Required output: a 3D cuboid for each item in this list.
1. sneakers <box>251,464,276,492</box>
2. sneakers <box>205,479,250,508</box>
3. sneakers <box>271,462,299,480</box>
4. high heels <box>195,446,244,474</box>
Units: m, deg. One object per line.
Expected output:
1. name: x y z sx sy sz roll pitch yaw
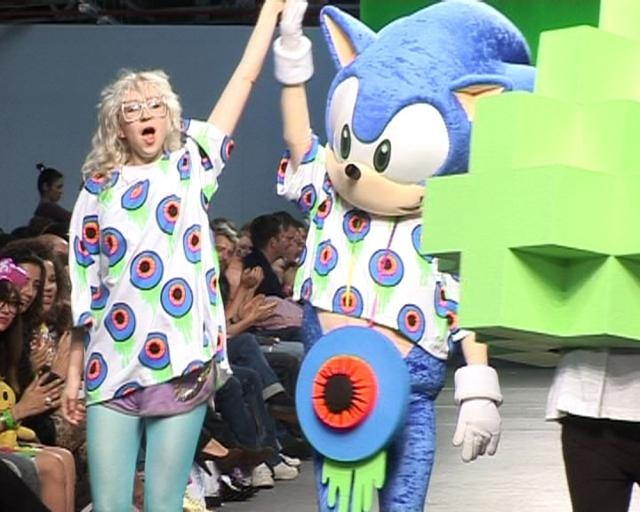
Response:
1. sneakers: -0.281 1.084 4.772 0.071 0.108 0.231 3 -13 -13
2. sneakers: -0.418 1.096 4.525 0.211 0.111 0.080 -2 1 -4
3. sneakers: -0.183 1.093 4.982 0.147 0.077 0.055 -1 3 -11
4. high heels: -0.445 0.917 4.362 0.268 0.121 0.090 0 3 -31
